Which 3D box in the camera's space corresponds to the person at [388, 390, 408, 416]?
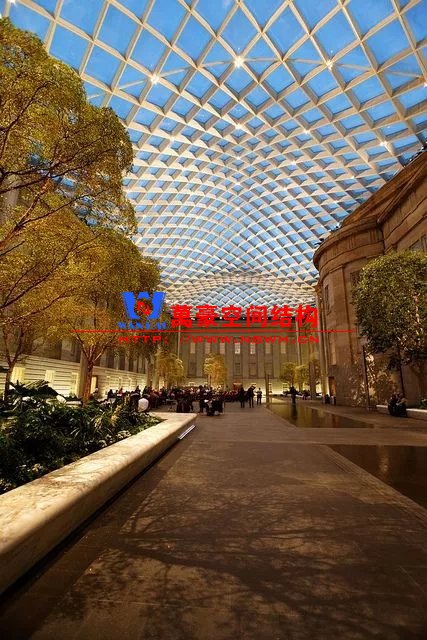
[{"bbox_3d":[8.408,3.711,16.216,0.533,0.982,0.995,1,-14,4],"label":"person"}]
